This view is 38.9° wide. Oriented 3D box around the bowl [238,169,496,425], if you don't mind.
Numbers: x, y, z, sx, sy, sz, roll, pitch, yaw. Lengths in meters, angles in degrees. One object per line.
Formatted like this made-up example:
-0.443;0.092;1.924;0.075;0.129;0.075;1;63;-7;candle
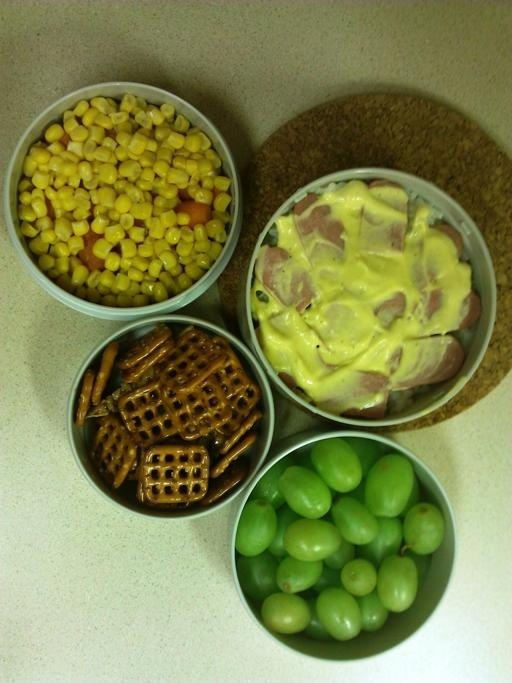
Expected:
0.256;-0.100;1.670;0.556;0.521;0.409;1;36;-6;bowl

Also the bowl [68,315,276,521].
-0.160;0.151;1.746;0.427;0.500;0.454;-8;8;1;bowl
